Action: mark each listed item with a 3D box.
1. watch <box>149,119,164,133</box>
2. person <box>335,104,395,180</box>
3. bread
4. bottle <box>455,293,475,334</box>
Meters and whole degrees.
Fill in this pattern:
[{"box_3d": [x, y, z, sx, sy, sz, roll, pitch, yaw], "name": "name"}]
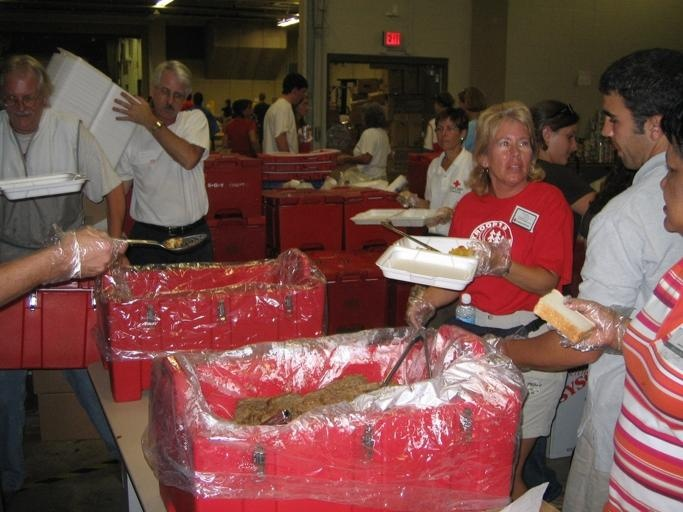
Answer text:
[{"box_3d": [-1.032, -0.736, 3.244, 0.072, 0.064, 0.038, -4, 11, -23], "name": "watch"}, {"box_3d": [0.301, -1.247, 6.937, 0.611, 1.192, 0.571, -7, 13, -27], "name": "person"}, {"box_3d": [0.675, 0.186, 1.750, 0.165, 0.137, 0.118, 6, 11, 25], "name": "bread"}, {"box_3d": [0.526, 0.244, 2.450, 0.099, 0.199, 0.104, -5, 31, 3], "name": "bottle"}]
